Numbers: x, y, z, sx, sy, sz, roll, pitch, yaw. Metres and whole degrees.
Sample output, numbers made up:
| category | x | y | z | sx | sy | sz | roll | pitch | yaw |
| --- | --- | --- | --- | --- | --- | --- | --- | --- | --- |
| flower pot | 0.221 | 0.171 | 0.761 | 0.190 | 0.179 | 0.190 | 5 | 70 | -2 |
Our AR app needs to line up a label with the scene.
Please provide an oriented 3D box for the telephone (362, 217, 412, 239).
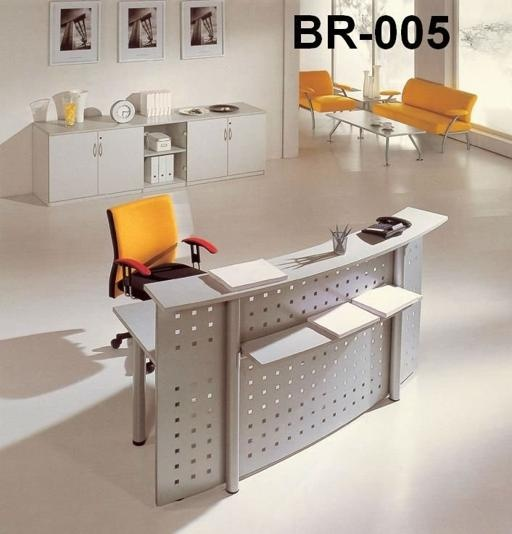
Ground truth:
| category | x | y | z | sx | sy | sz | roll | pitch | yaw |
| --- | --- | --- | --- | --- | --- | --- | --- | --- | --- |
| telephone | 0.737 | -0.225 | 2.768 | 0.157 | 0.051 | 0.207 | 13 | 25 | 40 |

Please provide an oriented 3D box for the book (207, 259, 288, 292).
| category | x | y | z | sx | sy | sz | roll | pitch | yaw |
| --- | --- | --- | --- | --- | --- | --- | --- | --- | --- |
| book | -0.016 | 0.026 | 2.109 | 0.348 | 0.041 | 0.267 | -11 | 16 | -31 |

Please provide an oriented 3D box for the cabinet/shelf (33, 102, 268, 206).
| category | x | y | z | sx | sy | sz | roll | pitch | yaw |
| --- | --- | --- | --- | --- | --- | --- | --- | --- | --- |
| cabinet/shelf | -1.265 | -1.532 | 7.102 | 2.961 | 0.953 | 0.637 | -7 | 9 | 0 |

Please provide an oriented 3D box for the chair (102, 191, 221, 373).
| category | x | y | z | sx | sy | sz | roll | pitch | yaw |
| --- | --- | --- | --- | --- | --- | --- | --- | --- | --- |
| chair | -0.604 | 0.099 | 3.399 | 0.629 | 1.040 | 0.739 | 10 | 20 | 23 |

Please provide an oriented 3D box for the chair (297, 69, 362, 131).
| category | x | y | z | sx | sy | sz | roll | pitch | yaw |
| --- | --- | --- | --- | --- | --- | --- | --- | --- | --- |
| chair | 1.419 | -3.735 | 10.936 | 0.942 | 0.909 | 1.184 | -15 | 34 | -19 |

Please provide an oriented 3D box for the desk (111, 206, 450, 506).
| category | x | y | z | sx | sy | sz | roll | pitch | yaw |
| --- | --- | --- | --- | --- | --- | --- | --- | --- | --- |
| desk | 0.182 | 0.363 | 2.620 | 1.747 | 0.992 | 0.795 | -14 | 22 | -35 |

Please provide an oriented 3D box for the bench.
| category | x | y | z | sx | sy | sz | roll | pitch | yaw |
| --- | --- | --- | --- | --- | --- | --- | --- | --- | --- |
| bench | 3.164 | -2.997 | 9.616 | 0.912 | 0.986 | 1.989 | -12 | 32 | -22 |
